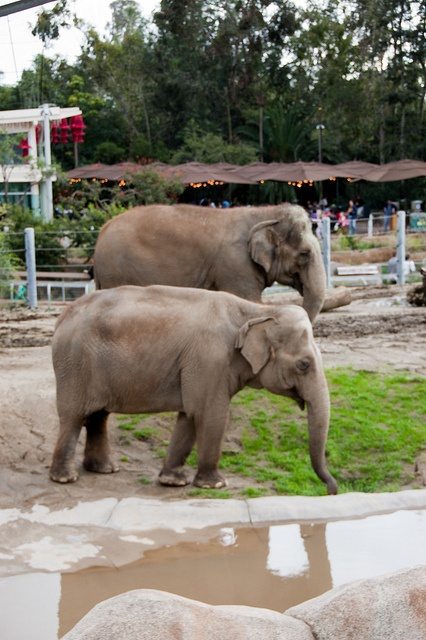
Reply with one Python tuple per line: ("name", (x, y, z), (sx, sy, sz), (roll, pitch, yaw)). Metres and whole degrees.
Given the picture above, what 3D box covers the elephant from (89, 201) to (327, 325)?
("elephant", (-0.004, -0.496, 6.530), (2.089, 1.201, 0.748), (-2, 16, -5))
